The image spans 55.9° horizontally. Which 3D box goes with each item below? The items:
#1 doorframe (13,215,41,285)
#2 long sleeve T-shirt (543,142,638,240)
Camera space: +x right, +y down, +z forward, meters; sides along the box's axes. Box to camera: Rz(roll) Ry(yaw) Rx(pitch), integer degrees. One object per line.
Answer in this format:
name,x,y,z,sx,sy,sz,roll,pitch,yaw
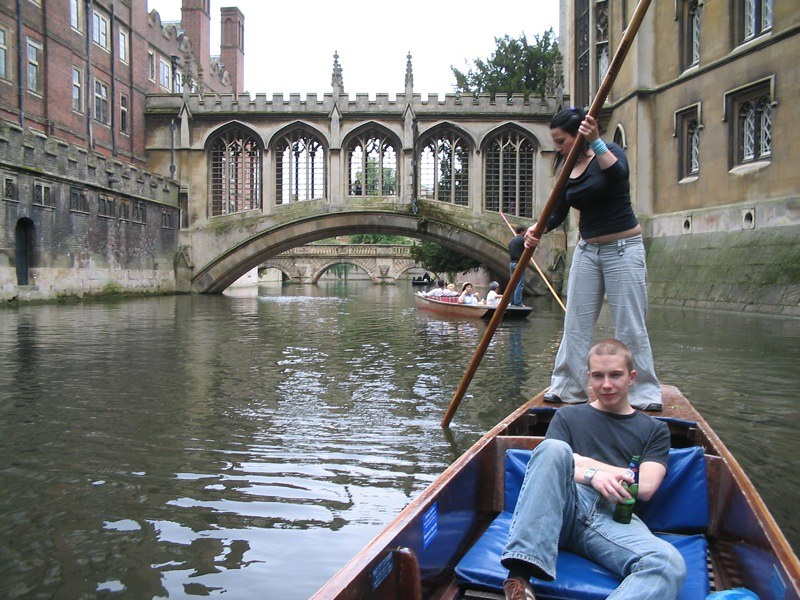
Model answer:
doorframe,-10.669,-1.364,21.666,0.546,1.892,0.709,-2,2,-24
long sleeve T-shirt,1.516,-0.769,5.826,0.531,0.877,0.450,-1,3,14
